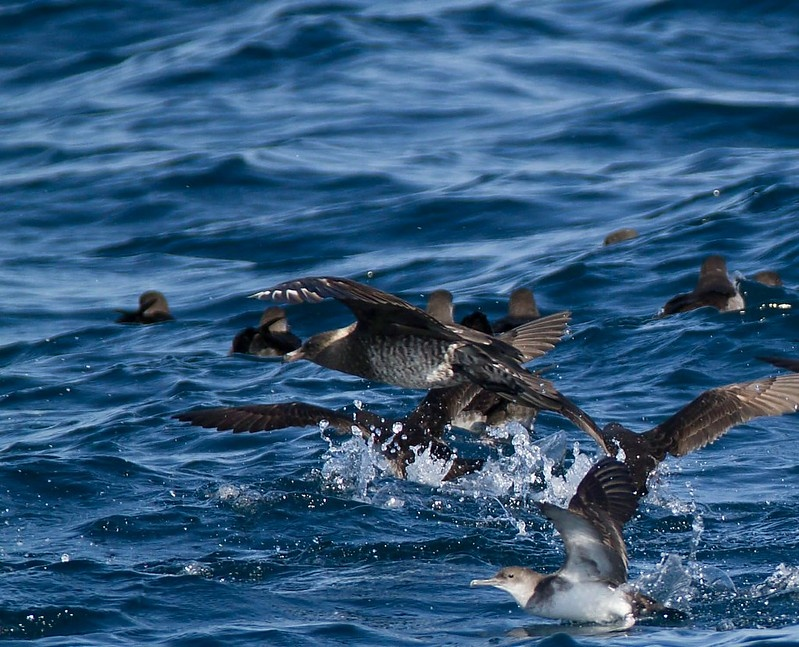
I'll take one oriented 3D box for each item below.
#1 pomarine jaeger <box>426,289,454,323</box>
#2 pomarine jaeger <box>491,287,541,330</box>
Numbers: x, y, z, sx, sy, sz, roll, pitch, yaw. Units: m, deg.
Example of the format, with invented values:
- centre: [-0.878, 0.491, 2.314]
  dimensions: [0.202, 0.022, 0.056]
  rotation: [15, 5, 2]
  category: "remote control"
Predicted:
- centre: [0.478, -0.218, 17.997]
  dimensions: [0.527, 0.429, 0.203]
  rotation: [-8, -10, 17]
  category: "pomarine jaeger"
- centre: [1.576, -0.118, 19.157]
  dimensions: [0.357, 0.945, 0.458]
  rotation: [39, 59, 13]
  category: "pomarine jaeger"
